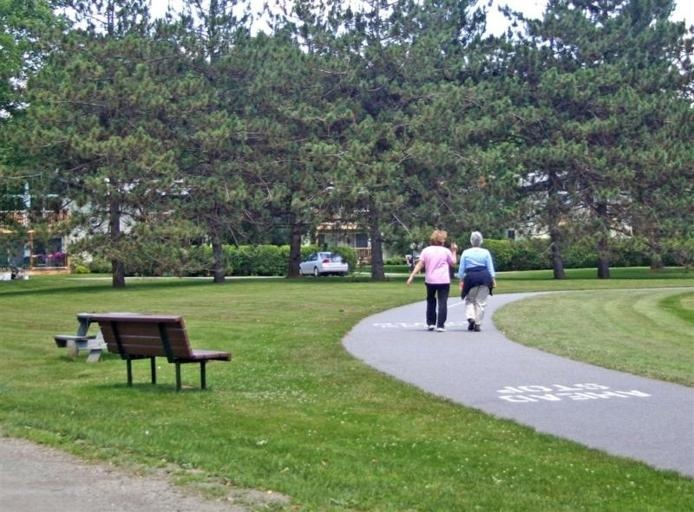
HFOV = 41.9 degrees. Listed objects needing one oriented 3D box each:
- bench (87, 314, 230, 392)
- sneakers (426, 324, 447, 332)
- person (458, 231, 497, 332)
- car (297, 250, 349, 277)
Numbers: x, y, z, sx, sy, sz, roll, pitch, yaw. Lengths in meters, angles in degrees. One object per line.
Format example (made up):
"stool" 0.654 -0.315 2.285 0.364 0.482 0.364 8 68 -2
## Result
"bench" -3.273 1.582 15.274 2.172 1.368 0.518 4 7 30
"sneakers" 2.102 1.726 21.465 0.412 0.198 0.155 -4 3 -22
"person" 3.103 0.603 21.729 0.822 2.408 1.512 1 6 9
"car" -1.685 0.498 57.416 1.406 1.078 3.020 1 2 -25
